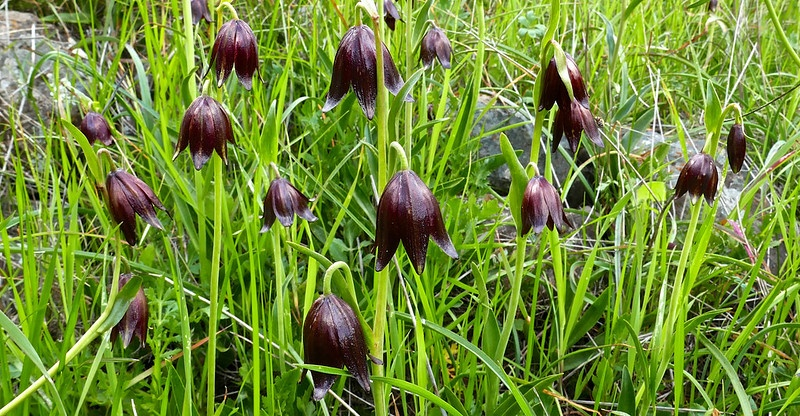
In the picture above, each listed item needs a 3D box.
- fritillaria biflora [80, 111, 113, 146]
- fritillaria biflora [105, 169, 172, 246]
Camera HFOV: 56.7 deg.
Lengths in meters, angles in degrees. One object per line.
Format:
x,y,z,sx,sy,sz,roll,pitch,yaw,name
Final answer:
-1.842,-0.475,4.467,0.159,0.220,0.181,-23,30,-32,fritillaria biflora
-1.418,0.027,3.953,0.277,0.405,0.141,-34,6,-28,fritillaria biflora
